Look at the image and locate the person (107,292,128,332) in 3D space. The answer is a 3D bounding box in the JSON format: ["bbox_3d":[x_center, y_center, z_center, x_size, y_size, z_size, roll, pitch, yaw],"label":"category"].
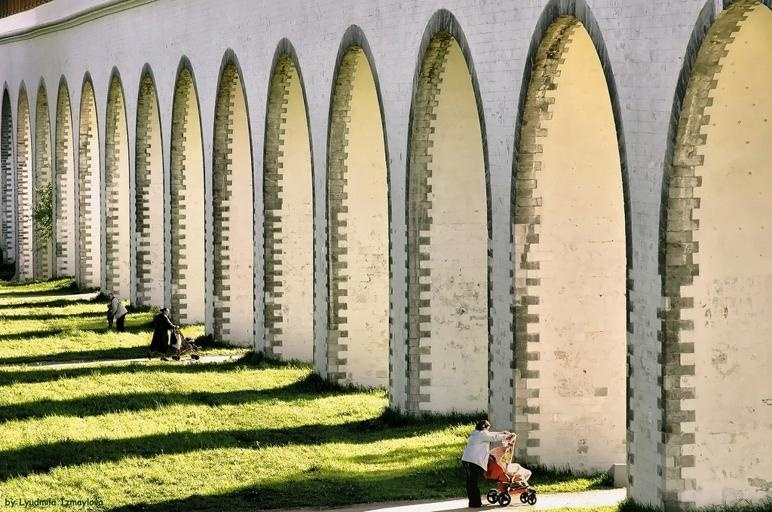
[{"bbox_3d":[-6.723,1.451,38.362,0.499,1.048,0.467,-2,13,8],"label":"person"}]

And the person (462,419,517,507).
[{"bbox_3d":[1.656,3.473,25.394,0.786,1.421,1.624,4,-6,4],"label":"person"}]

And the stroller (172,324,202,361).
[{"bbox_3d":[-4.599,2.010,35.423,0.615,0.650,0.436,2,10,-10],"label":"stroller"}]
